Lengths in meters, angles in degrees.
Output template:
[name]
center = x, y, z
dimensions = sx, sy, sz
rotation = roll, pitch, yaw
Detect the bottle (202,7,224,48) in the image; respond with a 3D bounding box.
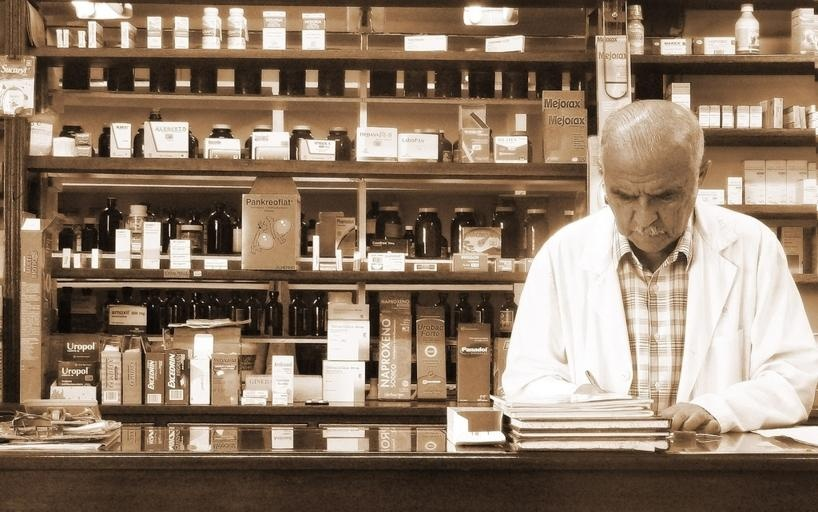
[bottle]
center = -1.270, -1.423, 11.556
dimensions = 0.111, 0.243, 0.108
rotation = -2, -6, 0

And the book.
[book]
center = 0.912, 0.867, 9.604
dimensions = 0.905, 0.294, 0.072
rotation = -2, -6, 1
